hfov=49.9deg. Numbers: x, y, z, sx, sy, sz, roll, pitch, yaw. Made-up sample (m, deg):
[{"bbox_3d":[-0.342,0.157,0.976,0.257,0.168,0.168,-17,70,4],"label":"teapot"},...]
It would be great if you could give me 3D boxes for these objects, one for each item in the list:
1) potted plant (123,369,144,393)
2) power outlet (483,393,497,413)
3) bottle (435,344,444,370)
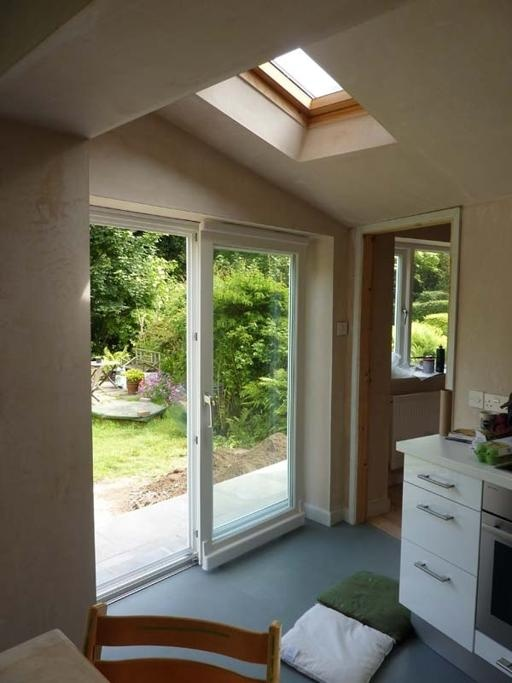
[{"bbox_3d":[-1.570,0.524,7.046,0.262,0.314,0.260,1,-1,-7],"label":"potted plant"},{"bbox_3d":[1.059,0.282,2.485,0.008,0.074,0.065,-7,18,-23],"label":"power outlet"},{"bbox_3d":[1.457,0.146,4.371,0.069,0.206,0.109,1,4,14],"label":"bottle"}]
